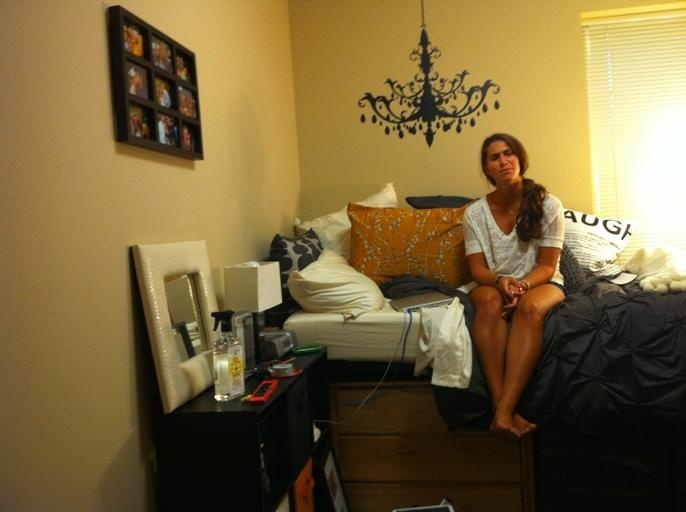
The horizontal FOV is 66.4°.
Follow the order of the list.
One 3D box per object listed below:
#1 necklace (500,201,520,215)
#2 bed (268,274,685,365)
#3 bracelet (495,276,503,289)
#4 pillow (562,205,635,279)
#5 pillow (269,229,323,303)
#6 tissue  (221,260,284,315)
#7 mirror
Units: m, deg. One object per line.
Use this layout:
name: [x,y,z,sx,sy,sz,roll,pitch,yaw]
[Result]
necklace: [0.934,-0.277,2.945,0.083,0.090,0.033,-3,-9,30]
bed: [0.395,0.389,2.575,1.262,0.388,0.726,-6,3,13]
bracelet: [0.809,0.139,2.716,0.018,0.050,0.040,6,9,-9]
pillow: [1.575,-0.080,3.275,0.424,0.139,0.466,0,45,39]
pillow: [-0.258,0.065,2.847,0.127,0.315,0.381,0,10,25]
tissue : [-0.372,0.125,2.264,0.200,0.236,0.275,-1,2,18]
mirror: [-0.643,0.298,2.019,0.047,0.666,0.649,-9,1,15]
